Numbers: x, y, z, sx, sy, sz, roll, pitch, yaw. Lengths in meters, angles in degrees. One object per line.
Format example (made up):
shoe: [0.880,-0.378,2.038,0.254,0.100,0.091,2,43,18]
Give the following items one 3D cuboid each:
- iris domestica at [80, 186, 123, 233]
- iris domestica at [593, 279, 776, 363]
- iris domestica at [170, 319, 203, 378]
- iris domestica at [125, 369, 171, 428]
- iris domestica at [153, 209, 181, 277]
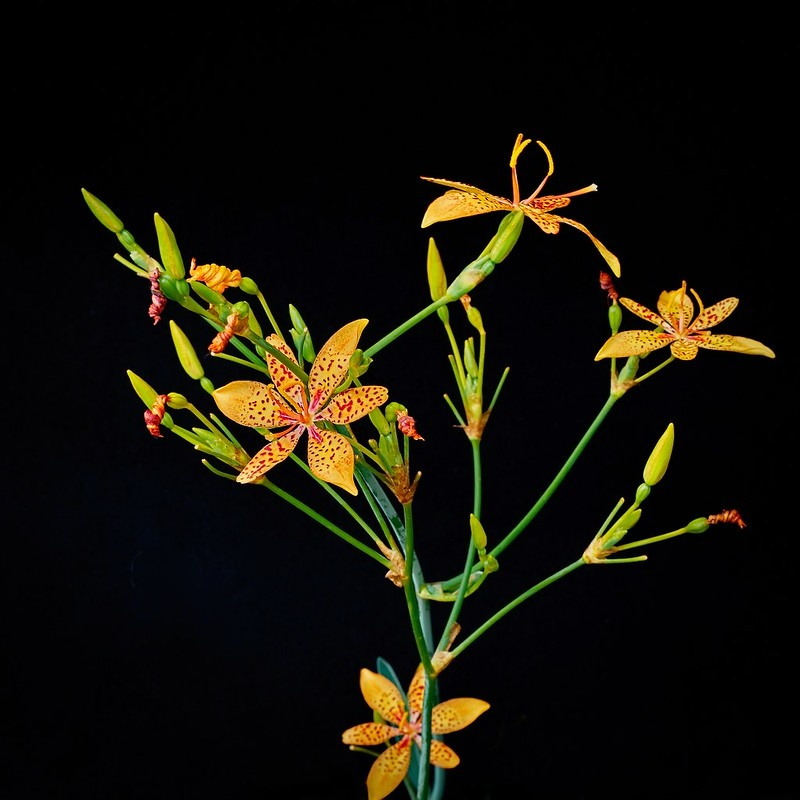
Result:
iris domestica: [-0.360,-0.228,1.157,0.046,0.046,0.111,6,2,-13]
iris domestica: [0.388,-0.102,1.375,0.263,0.120,0.137,7,1,-11]
iris domestica: [-0.240,-0.054,1.073,0.019,0.084,0.021,-12,13,26]
iris domestica: [-0.328,0.002,1.243,0.055,0.064,0.131,6,1,-3]
iris domestica: [-0.268,-0.180,1.126,0.037,0.070,0.158,5,2,-15]
